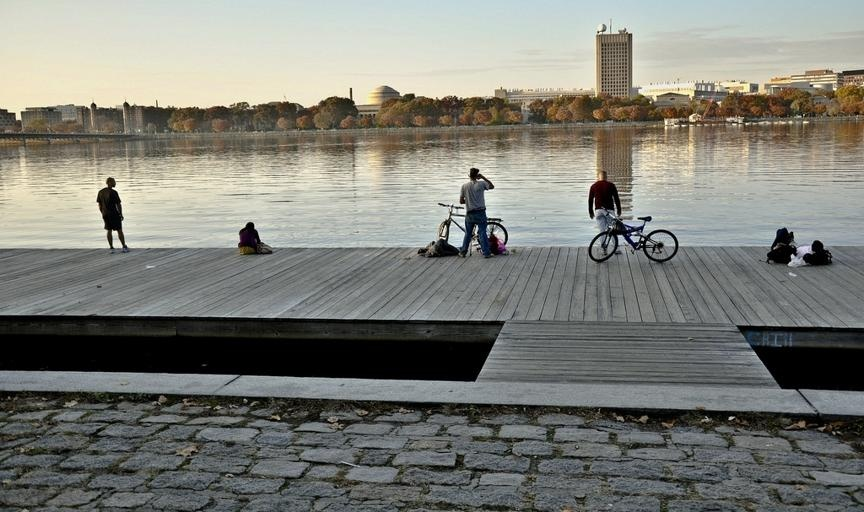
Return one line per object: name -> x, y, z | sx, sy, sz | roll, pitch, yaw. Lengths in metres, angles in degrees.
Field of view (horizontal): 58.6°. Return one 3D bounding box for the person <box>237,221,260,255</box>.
person -> -4.661, -0.477, 19.781 | 0.653, 0.752, 0.627 | 3, 5, 4
